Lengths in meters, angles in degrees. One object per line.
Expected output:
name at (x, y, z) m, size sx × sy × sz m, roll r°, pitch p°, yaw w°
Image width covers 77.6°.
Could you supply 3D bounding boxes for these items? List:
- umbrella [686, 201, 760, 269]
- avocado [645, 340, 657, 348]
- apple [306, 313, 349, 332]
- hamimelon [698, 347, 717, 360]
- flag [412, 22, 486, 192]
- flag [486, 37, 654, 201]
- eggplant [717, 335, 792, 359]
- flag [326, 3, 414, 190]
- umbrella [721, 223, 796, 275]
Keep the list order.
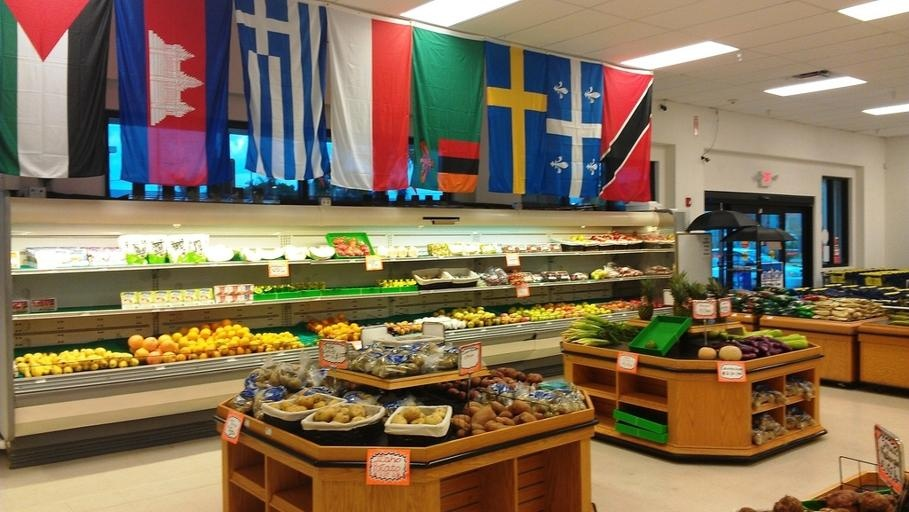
umbrella at (4.930, -0.629, 10.476) m, size 1.125 × 0.474 × 0.984 m, roll -5°, pitch 4°, yaw -38°
avocado at (2.421, 1.098, 6.953) m, size 0.110 × 0.099 × 0.085 m, roll 5°, pitch -38°, yaw 11°
apple at (-1.862, 0.980, 8.286) m, size 0.448 × 0.096 × 0.298 m, roll -7°, pitch 9°, yaw -41°
hamimelon at (3.019, 1.173, 6.723) m, size 0.192 × 0.134 × 0.158 m, roll 6°, pitch -20°, yaw -26°
flag at (-0.113, -2.267, 8.820) m, size 1.297 × 2.498 × 0.286 m, roll -6°, pitch 5°, yaw -33°
flag at (1.878, -2.238, 9.672) m, size 3.127 × 2.531 × 0.336 m, roll -4°, pitch 4°, yaw -21°
eggplant at (3.733, 1.138, 6.993) m, size 0.579 × 0.123 × 0.428 m, roll -1°, pitch -2°, yaw -39°
flag at (-1.250, -2.269, 8.301) m, size 1.410 × 2.405 × 0.327 m, roll -4°, pitch 10°, yaw -23°
umbrella at (5.705, -0.213, 10.741) m, size 1.406 × 0.590 × 1.234 m, roll 0°, pitch -1°, yaw -32°
